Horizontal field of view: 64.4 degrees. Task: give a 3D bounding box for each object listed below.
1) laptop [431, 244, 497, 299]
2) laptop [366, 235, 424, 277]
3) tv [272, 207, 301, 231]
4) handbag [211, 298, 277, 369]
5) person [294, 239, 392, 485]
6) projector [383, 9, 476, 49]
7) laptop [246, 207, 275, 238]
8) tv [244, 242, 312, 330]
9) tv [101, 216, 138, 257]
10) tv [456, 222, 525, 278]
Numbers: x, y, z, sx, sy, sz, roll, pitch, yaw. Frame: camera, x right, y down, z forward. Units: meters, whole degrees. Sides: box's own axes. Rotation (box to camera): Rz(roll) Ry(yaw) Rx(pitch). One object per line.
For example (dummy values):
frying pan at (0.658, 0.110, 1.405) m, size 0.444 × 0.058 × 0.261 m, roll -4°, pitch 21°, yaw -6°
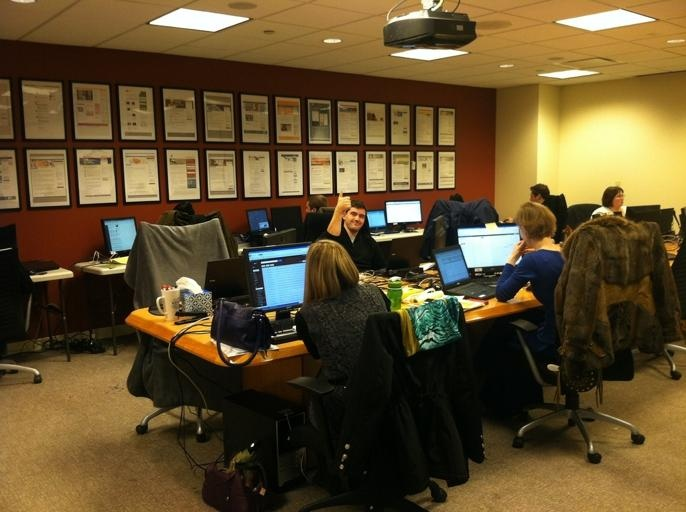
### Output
laptop at (0.935, 0.108, 3.950) m, size 0.459 × 0.280 × 0.532 m, roll 9°, pitch 11°, yaw 24°
laptop at (0.706, 0.074, 6.973) m, size 0.697 × 0.401 × 0.473 m, roll -5°, pitch 9°, yaw -38°
tv at (-0.728, -0.477, 6.771) m, size 0.443 × 0.390 × 0.042 m, roll -3°, pitch -12°, yaw -44°
handbag at (-0.570, 0.372, 2.909) m, size 0.245 × 0.269 × 0.392 m, roll -9°, pitch 11°, yaw -41°
person at (-0.002, 0.604, 2.719) m, size 0.456 × 1.313 × 0.548 m, roll 0°, pitch 11°, yaw 5°
projector at (0.547, -1.460, 3.456) m, size 0.568 × 0.210 × 0.284 m, roll 0°, pitch 11°, yaw 6°
laptop at (-1.006, -0.412, 6.517) m, size 0.402 × 0.306 × 0.368 m, roll -17°, pitch 29°, yaw -42°
tv at (-0.380, 0.175, 3.170) m, size 0.453 × 0.503 × 0.170 m, roll -10°, pitch 5°, yaw -34°
tv at (-2.239, -0.206, 5.749) m, size 0.386 × 0.428 × 0.478 m, roll 3°, pitch 8°, yaw 24°
tv at (1.145, -0.046, 4.272) m, size 0.466 × 0.341 × 0.063 m, roll -2°, pitch 2°, yaw -19°
